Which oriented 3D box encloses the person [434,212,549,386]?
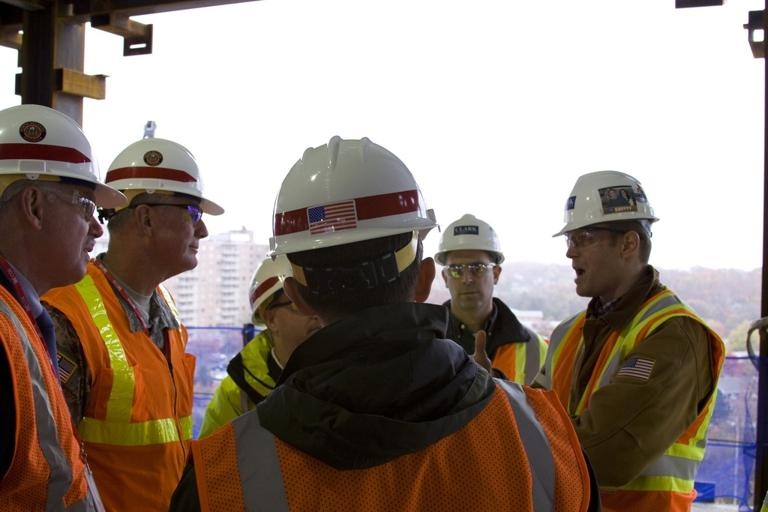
[{"bbox_3d":[0.804,0.371,7.824,0.901,1.222,0.493,-24,-8,6],"label":"person"}]
